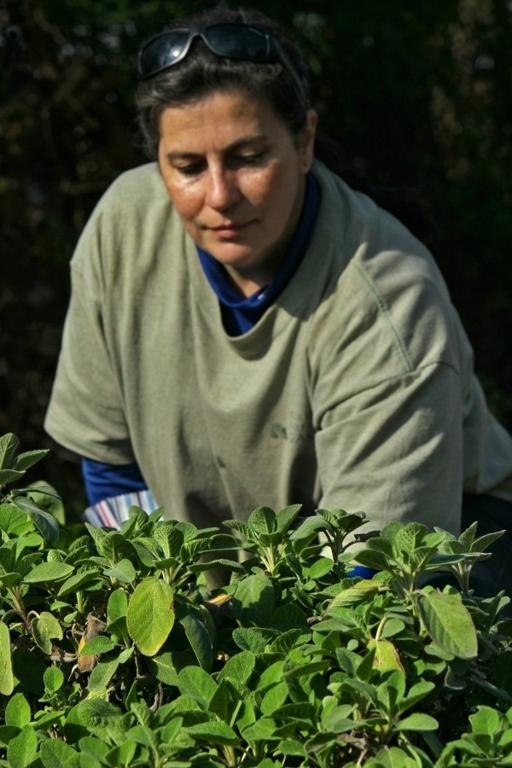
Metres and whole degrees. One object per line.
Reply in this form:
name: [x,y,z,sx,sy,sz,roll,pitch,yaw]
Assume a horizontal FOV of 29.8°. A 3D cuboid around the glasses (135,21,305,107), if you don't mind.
glasses: [-0.072,-0.546,1.652,0.270,0.148,0.161,-9,14,4]
